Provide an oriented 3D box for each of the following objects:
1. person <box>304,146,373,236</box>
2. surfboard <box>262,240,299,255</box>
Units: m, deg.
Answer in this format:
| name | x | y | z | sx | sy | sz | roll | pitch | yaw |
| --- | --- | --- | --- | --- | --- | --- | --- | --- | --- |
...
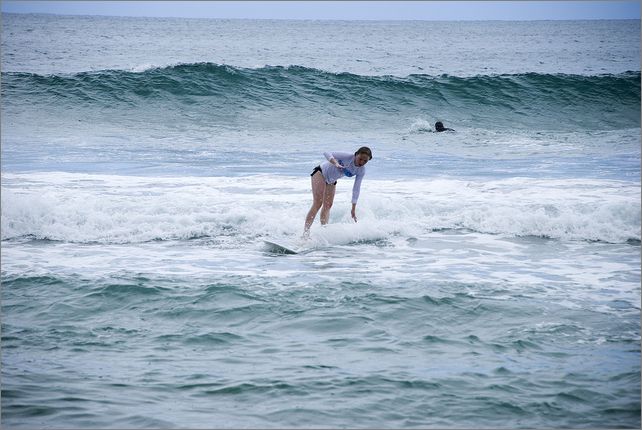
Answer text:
| name | x | y | z | sx | sy | sz | roll | pitch | yaw |
| --- | --- | --- | --- | --- | --- | --- | --- | --- | --- |
| person | 0.310 | -0.503 | 17.861 | 1.144 | 2.182 | 0.732 | 11 | 17 | -1 |
| surfboard | -0.830 | 0.729 | 17.545 | 0.596 | 0.081 | 0.423 | 6 | 11 | -12 |
